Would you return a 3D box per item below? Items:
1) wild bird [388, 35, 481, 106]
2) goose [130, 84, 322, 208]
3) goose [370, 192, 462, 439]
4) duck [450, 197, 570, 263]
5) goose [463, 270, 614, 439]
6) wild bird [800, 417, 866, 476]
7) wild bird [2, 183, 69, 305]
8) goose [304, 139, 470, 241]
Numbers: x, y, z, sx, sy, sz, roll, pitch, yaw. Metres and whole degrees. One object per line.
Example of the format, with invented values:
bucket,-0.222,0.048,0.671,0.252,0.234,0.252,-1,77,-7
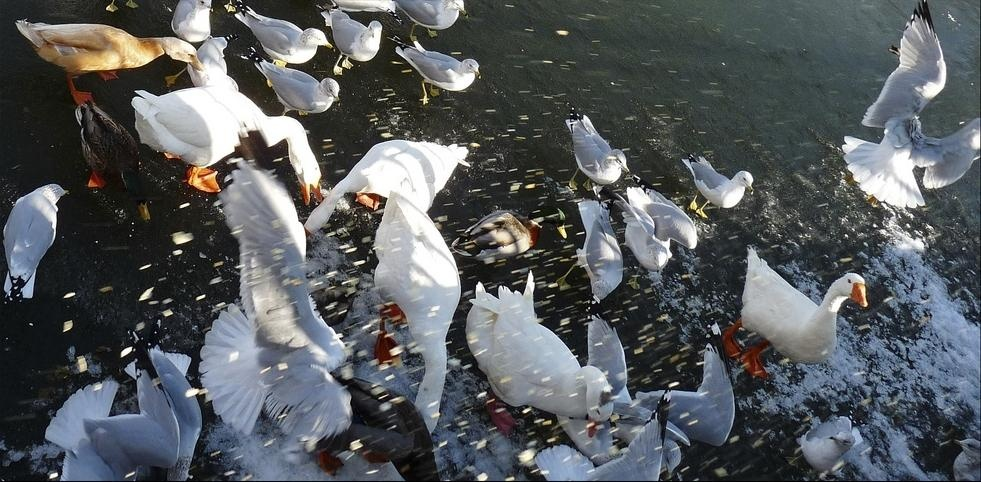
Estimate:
wild bird,-1.041,-3.001,14.688,1.543,0.972,0.600,23,41,4
goose,-4.324,-1.473,13.216,4.376,1.943,1.958,4,1,40
goose,-1.093,1.029,13.467,1.521,3.526,1.473,0,1,-19
duck,0.305,-0.163,13.966,1.958,0.835,0.835,-7,36,-11
goose,0.641,1.917,12.916,2.653,1.384,0.915,38,44,21
wild bird,5.519,3.247,13.269,0.847,0.822,0.674,-10,49,-30
wild bird,-7.278,0.015,13.002,0.701,1.327,1.380,10,42,-13
goose,-1.605,-0.977,14.006,2.854,1.057,1.217,-33,86,-12
